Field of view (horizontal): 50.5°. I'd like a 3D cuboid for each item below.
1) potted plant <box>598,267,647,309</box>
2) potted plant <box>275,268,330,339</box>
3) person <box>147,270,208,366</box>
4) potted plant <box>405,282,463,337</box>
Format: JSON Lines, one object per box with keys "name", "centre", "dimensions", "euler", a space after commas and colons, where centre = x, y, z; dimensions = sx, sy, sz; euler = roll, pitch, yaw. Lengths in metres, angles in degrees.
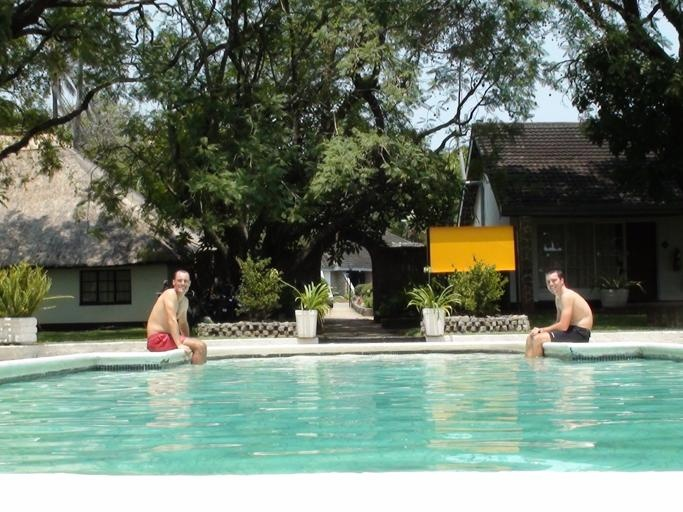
{"name": "potted plant", "centre": [9.698, 1.163, 25.533], "dimensions": [1.281, 1.208, 1.324], "euler": [3, -6, -20]}
{"name": "potted plant", "centre": [-0.916, 1.208, 18.297], "dimensions": [1.345, 1.770, 0.894], "euler": [-1, -5, 10]}
{"name": "person", "centre": [-3.062, 1.136, 13.202], "dimensions": [0.850, 1.700, 1.226], "euler": [-1, -5, 6]}
{"name": "potted plant", "centre": [2.239, 1.365, 18.300], "dimensions": [1.098, 1.080, 1.065], "euler": [0, -9, 2]}
